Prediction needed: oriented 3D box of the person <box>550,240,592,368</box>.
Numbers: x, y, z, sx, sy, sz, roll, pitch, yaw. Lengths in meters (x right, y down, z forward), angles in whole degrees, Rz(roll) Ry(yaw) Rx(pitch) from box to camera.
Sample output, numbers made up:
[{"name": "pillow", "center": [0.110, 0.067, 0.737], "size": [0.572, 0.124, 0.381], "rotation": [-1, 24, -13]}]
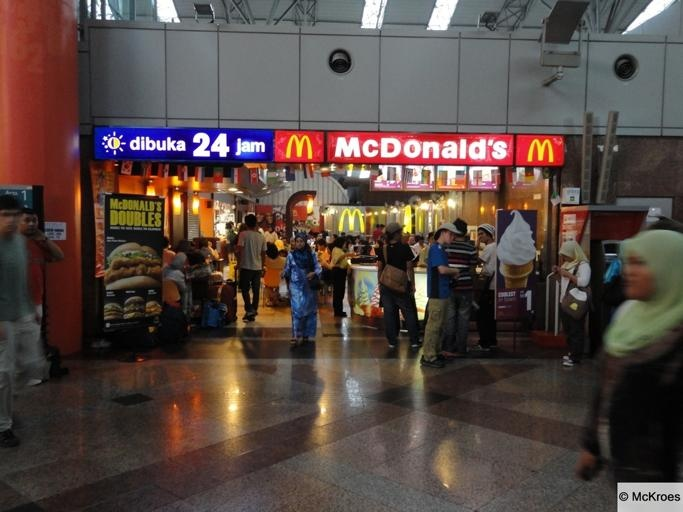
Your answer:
[{"name": "person", "center": [3.175, 0.649, 8.227], "size": [0.451, 1.649, 0.563], "rotation": [6, 5, -6]}]

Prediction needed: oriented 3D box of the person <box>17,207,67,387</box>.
[{"name": "person", "center": [-3.679, 0.417, 6.891], "size": [0.521, 2.186, 0.691], "rotation": [3, 9, -17]}]
